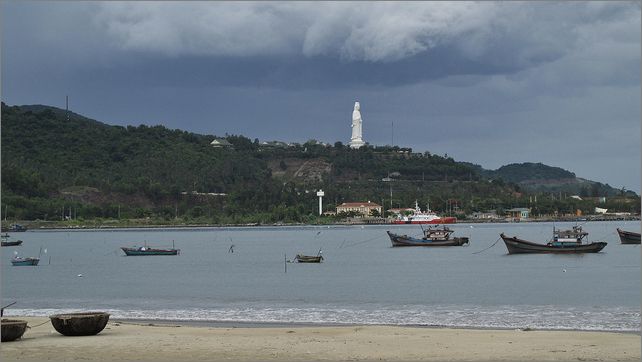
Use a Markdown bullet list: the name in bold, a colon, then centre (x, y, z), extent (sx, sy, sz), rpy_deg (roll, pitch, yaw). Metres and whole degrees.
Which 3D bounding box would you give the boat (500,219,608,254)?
- **boat**: centre (76.298, 19.002, 346.450), extent (28.991, 8.646, 8.731), rpy_deg (-3, -4, 14)

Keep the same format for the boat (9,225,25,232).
- **boat**: centre (-129.998, 19.722, 461.541), extent (5.977, 3.560, 19.783), rpy_deg (-1, -4, -16)
